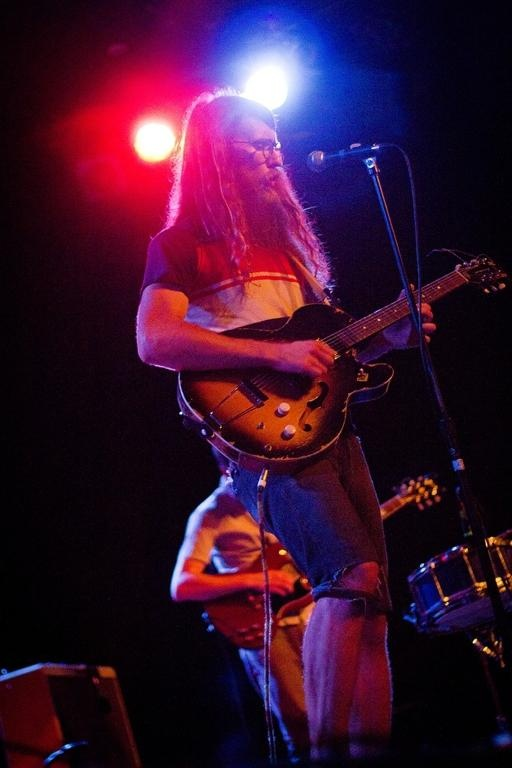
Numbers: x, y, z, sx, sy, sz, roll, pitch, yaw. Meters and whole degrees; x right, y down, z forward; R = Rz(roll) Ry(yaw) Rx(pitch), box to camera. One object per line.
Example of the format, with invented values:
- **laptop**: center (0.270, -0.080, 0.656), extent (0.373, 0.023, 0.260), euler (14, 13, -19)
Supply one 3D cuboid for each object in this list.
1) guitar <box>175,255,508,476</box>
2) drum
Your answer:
- **guitar**: center (0.328, -0.070, 3.041), extent (1.283, 0.507, 0.162), euler (-28, -8, -36)
- **drum**: center (0.923, 0.932, 3.514), extent (0.540, 0.549, 0.204), euler (-11, 32, 27)
